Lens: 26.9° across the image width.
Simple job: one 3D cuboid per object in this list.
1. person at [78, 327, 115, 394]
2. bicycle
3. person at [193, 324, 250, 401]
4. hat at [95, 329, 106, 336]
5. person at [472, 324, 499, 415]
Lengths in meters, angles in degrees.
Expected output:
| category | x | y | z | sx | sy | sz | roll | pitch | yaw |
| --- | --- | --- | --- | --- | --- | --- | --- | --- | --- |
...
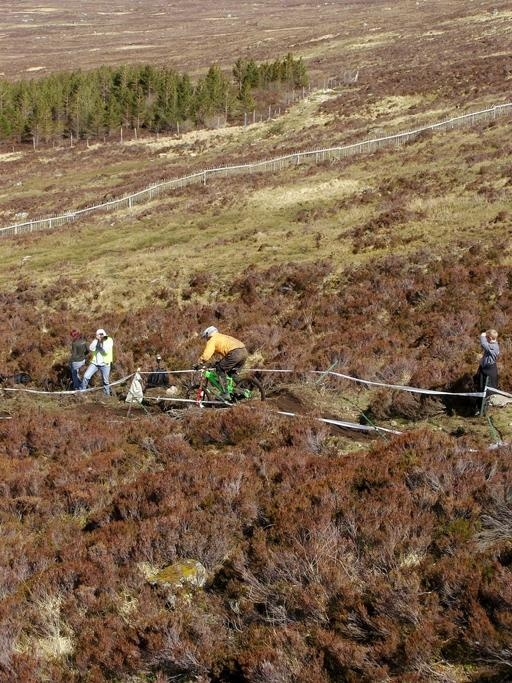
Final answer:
| category | x | y | z | sx | sy | sz | roll | pitch | yaw |
| --- | --- | --- | --- | --- | --- | --- | --- | --- | --- |
| person | -3.287 | 0.432 | 22.020 | 0.685 | 1.479 | 0.703 | -5 | 16 | 9 |
| bicycle | -0.665 | 0.840 | 19.873 | 1.423 | 0.911 | 0.725 | -2 | 16 | 25 |
| person | -0.643 | 0.372 | 19.290 | 0.889 | 1.304 | 0.842 | -1 | -2 | -8 |
| hat | -3.124 | -0.208 | 21.669 | 0.174 | 0.136 | 0.252 | -1 | -5 | -23 |
| person | 3.818 | 0.451 | 17.785 | 0.419 | 1.148 | 1.886 | -4 | 17 | 12 |
